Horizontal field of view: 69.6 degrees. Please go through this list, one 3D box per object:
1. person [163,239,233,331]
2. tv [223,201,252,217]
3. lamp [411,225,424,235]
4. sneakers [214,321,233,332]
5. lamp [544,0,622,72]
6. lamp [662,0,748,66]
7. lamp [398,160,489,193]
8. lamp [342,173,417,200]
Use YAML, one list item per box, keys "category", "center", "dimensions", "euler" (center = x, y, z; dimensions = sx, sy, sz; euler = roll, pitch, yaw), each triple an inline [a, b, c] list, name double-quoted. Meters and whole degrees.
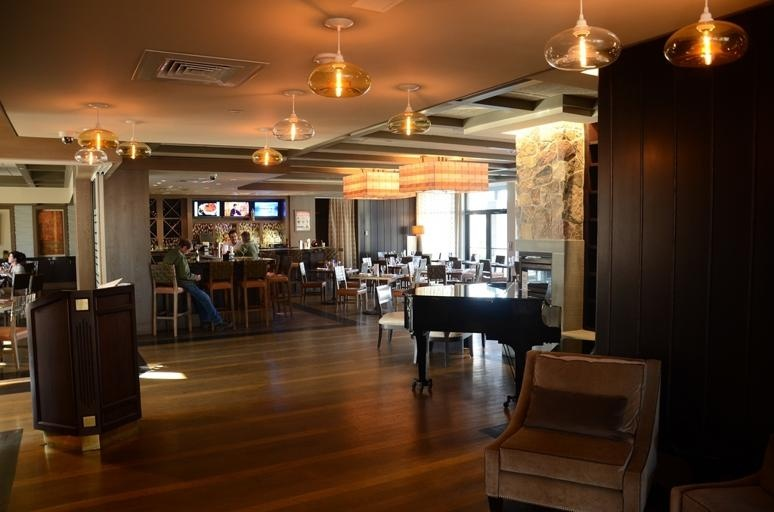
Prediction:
- category: "person"
  center: [-3.487, 0.497, 10.359]
  dimensions: [0.888, 1.733, 0.885]
  euler: [-1, 10, 3]
- category: "tv"
  center: [-5.132, -1.655, 19.025]
  dimensions: [0.643, 0.393, 0.027]
  euler: [0, -3, -22]
- category: "lamp"
  center: [1.125, -0.964, 19.832]
  dimensions: [0.375, 0.261, 0.373]
  euler: [2, -4, -20]
- category: "sneakers"
  center: [-3.045, 1.296, 10.434]
  dimensions: [0.393, 0.166, 0.164]
  euler: [-5, 7, -36]
- category: "lamp"
  center: [1.261, -1.360, 3.601]
  dimensions: [0.448, 0.590, 0.422]
  euler: [-2, 3, 1]
- category: "lamp"
  center: [2.041, -1.427, 3.570]
  dimensions: [0.473, 0.363, 0.217]
  euler: [-3, 10, -10]
- category: "lamp"
  center: [0.962, -1.461, 10.328]
  dimensions: [0.953, 0.377, 0.927]
  euler: [5, -7, -30]
- category: "lamp"
  center: [-0.329, -1.485, 11.694]
  dimensions: [0.891, 0.388, 0.915]
  euler: [-1, -5, 35]
